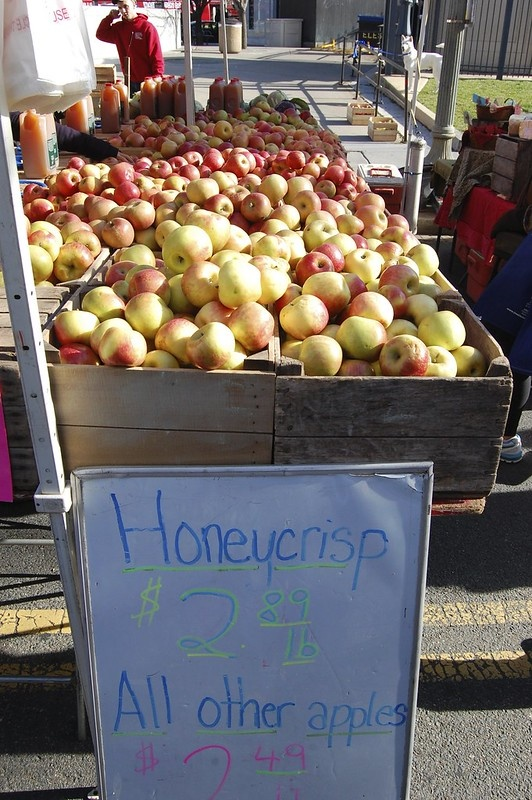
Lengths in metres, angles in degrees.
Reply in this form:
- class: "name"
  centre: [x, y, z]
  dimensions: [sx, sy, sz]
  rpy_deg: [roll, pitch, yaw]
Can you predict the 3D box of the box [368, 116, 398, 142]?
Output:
- class: "box"
  centre: [2.054, -4.810, 11.568]
  dimensions: [0.471, 0.301, 0.474]
  rpy_deg: [-1, 57, -1]
